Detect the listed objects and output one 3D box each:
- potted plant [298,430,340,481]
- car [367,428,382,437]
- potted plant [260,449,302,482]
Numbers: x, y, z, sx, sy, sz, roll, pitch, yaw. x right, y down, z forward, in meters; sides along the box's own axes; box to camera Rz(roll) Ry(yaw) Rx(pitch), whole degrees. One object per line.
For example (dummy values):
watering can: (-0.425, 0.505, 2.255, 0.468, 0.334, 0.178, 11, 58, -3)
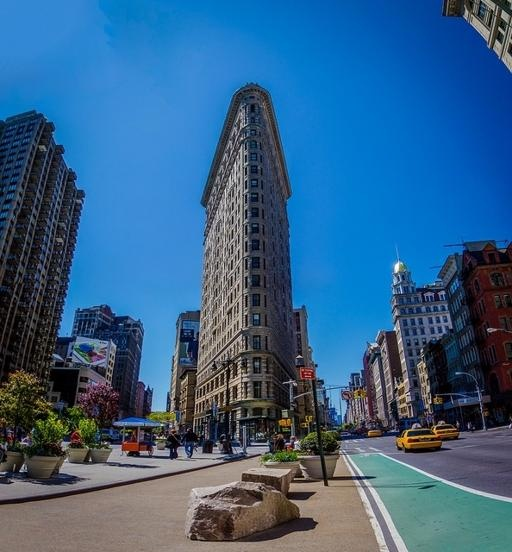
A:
potted plant: (2.265, 6.188, 13.332, 1.528, 1.709, 1.618, 2, -26, -3)
car: (23.379, 31.024, 75.492, 2.245, 1.355, 4.037, -12, -26, 24)
potted plant: (0.742, 6.296, 12.718, 1.131, 0.889, 3.136, -8, -24, 15)
